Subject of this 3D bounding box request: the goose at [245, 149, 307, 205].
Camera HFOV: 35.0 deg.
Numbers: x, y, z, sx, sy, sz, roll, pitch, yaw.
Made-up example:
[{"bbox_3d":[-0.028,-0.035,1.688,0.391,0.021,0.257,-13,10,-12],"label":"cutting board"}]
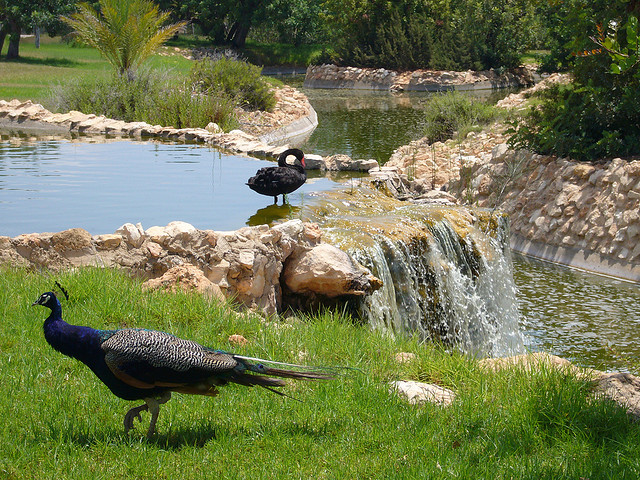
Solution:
[{"bbox_3d":[-0.945,-1.364,23.027,1.485,1.491,0.873,-2,-4,-26],"label":"goose"}]
